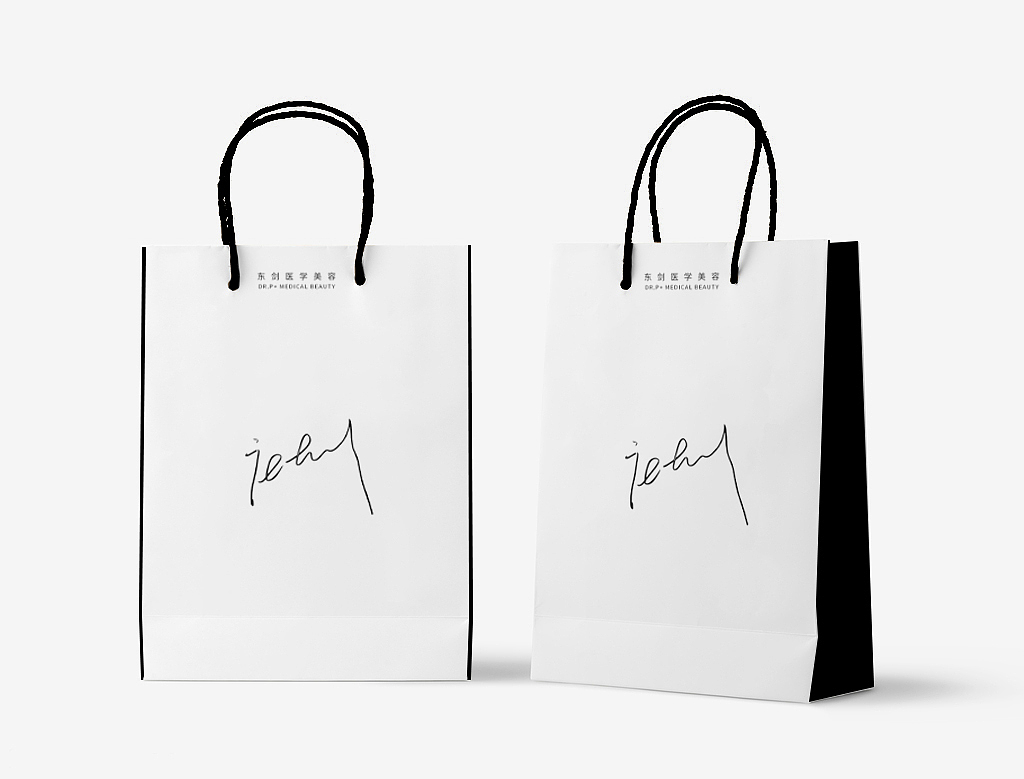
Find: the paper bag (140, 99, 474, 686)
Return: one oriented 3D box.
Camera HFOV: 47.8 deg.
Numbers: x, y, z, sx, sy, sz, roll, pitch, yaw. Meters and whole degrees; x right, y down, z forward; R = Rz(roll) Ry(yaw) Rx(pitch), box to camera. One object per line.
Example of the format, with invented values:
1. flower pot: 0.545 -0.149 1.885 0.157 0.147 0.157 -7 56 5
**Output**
1. paper bag: -0.341 -0.003 1.927 0.556 0.963 0.147 1 5 1
